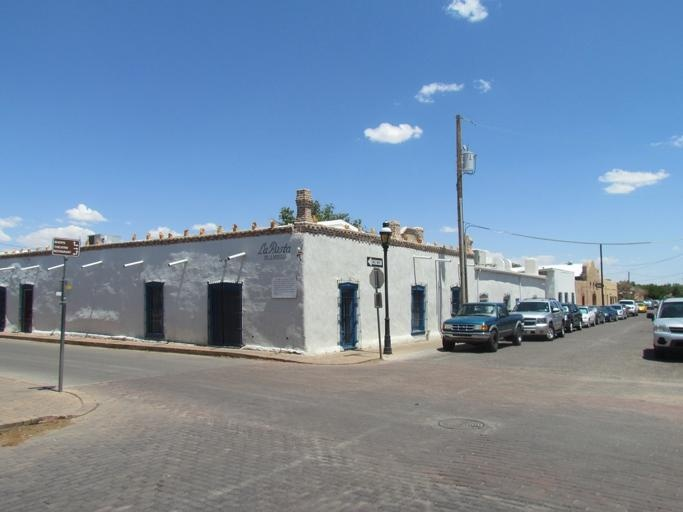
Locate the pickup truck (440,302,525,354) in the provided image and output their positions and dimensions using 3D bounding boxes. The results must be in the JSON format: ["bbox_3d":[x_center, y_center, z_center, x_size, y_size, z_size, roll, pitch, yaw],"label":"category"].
[{"bbox_3d":[5.505,2.696,22.436,1.605,1.223,3.365,-5,-10,30],"label":"pickup truck"}]

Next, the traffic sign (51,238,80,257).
[{"bbox_3d":[-5.953,-0.182,12.579,0.106,0.464,0.665,3,0,43],"label":"traffic sign"}]
